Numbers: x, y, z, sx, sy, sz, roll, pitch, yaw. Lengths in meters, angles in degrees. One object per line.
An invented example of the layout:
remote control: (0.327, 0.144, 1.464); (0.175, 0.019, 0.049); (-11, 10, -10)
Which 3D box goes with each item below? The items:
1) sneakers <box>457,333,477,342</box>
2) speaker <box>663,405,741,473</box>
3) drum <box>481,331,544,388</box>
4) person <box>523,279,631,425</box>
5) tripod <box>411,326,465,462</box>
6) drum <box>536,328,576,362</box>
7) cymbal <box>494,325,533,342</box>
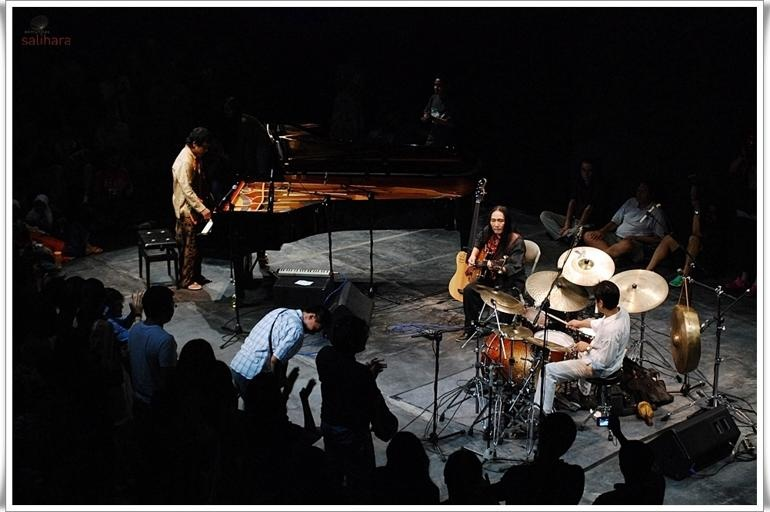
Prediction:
sneakers: (1.402, 1.380, 9.354); (0.334, 0.128, 0.108); (-10, 1, -19)
speaker: (3.790, 2.263, 6.639); (1.170, 0.727, 0.292); (0, 13, -29)
drum: (1.702, 1.416, 7.341); (0.786, 0.692, 0.727); (5, 9, 2)
person: (2.591, 1.343, 7.355); (1.360, 2.186, 1.147); (13, 26, 24)
tripod: (0.722, 1.931, 7.534); (0.948, 1.562, 1.327); (7, 12, 9)
drum: (2.245, 1.195, 7.243); (0.528, 0.360, 0.454); (9, 16, 9)
cymbal: (1.610, 0.963, 6.790); (0.412, 0.173, 0.274); (9, 11, 15)
